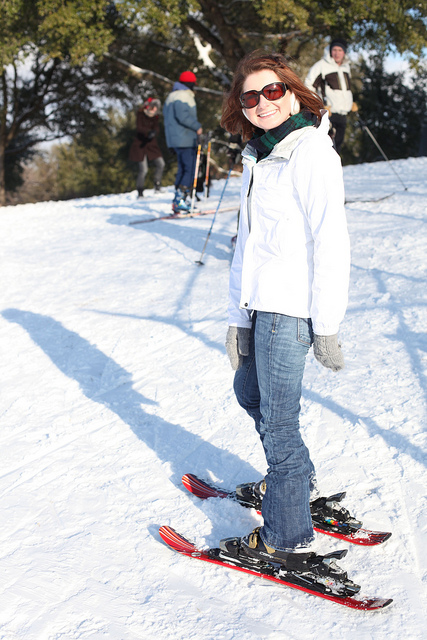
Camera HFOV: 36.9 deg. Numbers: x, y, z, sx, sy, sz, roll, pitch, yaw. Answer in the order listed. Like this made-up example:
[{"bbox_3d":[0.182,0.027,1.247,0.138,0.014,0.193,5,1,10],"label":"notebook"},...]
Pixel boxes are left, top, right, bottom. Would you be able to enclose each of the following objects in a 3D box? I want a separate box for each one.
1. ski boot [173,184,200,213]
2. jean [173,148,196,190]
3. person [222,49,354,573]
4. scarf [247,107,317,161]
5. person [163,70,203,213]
[{"bbox_3d":[-0.439,-1.848,9.744,0.524,0.470,0.173,10,37,5],"label":"ski boot"},{"bbox_3d":[-0.426,-2.297,9.642,0.358,0.597,0.316,7,15,6],"label":"jean"},{"bbox_3d":[0.269,-0.016,2.478,0.335,1.975,0.722,0,16,-19],"label":"person"},{"bbox_3d":[0.248,-0.699,2.373,0.092,0.228,0.185,45,16,-11],"label":"scarf"},{"bbox_3d":[-0.483,-2.640,9.507,0.567,2.069,0.726,4,15,-5],"label":"person"}]
